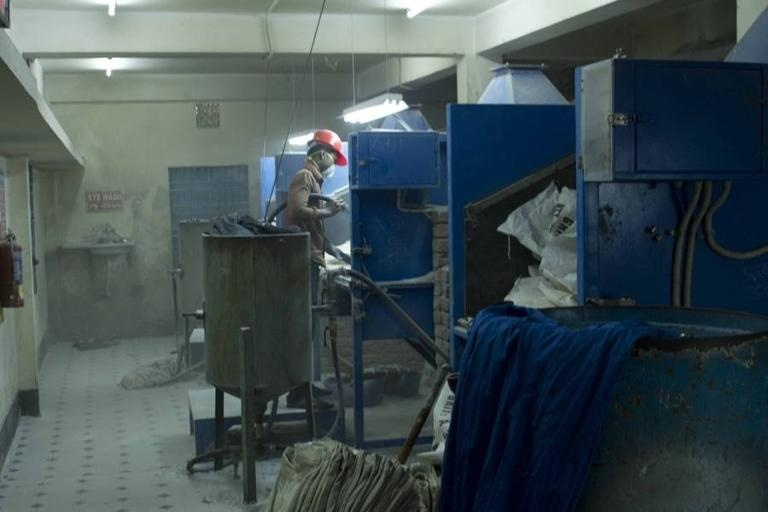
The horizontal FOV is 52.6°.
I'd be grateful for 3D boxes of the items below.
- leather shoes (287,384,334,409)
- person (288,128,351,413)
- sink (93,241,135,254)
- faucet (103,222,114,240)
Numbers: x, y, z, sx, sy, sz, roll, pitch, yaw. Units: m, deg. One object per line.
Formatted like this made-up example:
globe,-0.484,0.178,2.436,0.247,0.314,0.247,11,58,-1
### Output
leather shoes,-0.686,1.298,7.096,0.314,0.116,0.257,-2,0,-3
person,-0.629,-0.426,7.327,0.588,1.579,1.713,-2,4,-3
sink,-3.868,-0.098,11.121,0.579,0.174,0.175,-3,4,-20
faucet,-3.937,-0.348,11.181,0.154,0.227,0.061,-4,4,-31
